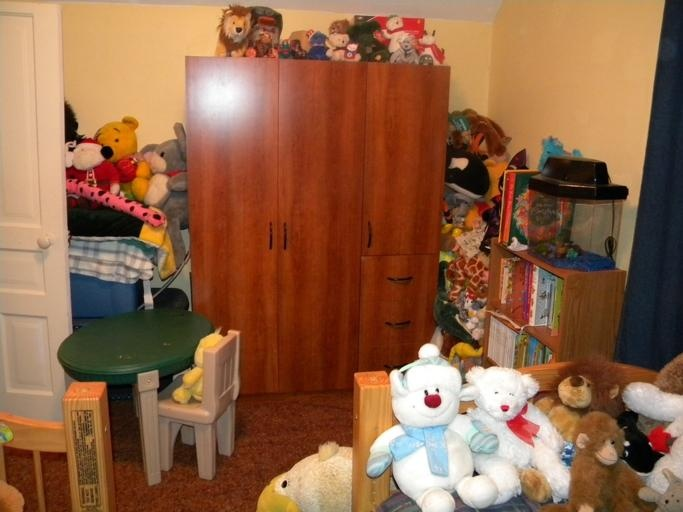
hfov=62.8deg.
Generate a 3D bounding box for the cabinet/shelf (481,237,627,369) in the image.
[{"bbox_3d":[1.045,0.336,2.941,0.286,0.692,0.717,2,10,-15],"label":"cabinet/shelf"}]

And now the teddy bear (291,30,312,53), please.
[{"bbox_3d":[-0.246,-1.342,3.480,0.148,0.156,0.255,-1,16,-4],"label":"teddy bear"}]

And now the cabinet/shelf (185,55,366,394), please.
[{"bbox_3d":[-0.423,-0.189,3.558,1.065,2.002,0.567,-3,11,-14],"label":"cabinet/shelf"}]

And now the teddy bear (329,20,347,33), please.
[{"bbox_3d":[-0.011,-1.446,3.509,0.123,0.103,0.178,0,16,0],"label":"teddy bear"}]

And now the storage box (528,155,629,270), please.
[{"bbox_3d":[1.106,-0.220,2.671,0.459,0.500,0.364,8,18,26],"label":"storage box"}]

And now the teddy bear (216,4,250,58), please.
[{"bbox_3d":[-0.628,-1.305,3.237,0.225,0.296,0.235,-2,16,-7],"label":"teddy bear"}]

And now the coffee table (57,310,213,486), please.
[{"bbox_3d":[-1.022,0.571,2.930,0.828,0.627,0.747,3,10,17],"label":"coffee table"}]

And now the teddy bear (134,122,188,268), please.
[{"bbox_3d":[-1.099,-0.380,3.507,0.295,0.882,0.228,-3,16,-8],"label":"teddy bear"}]

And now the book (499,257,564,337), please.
[{"bbox_3d":[0.985,0.213,2.867,0.193,0.334,0.338,-6,17,-24],"label":"book"}]

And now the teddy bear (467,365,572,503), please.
[{"bbox_3d":[0.624,0.614,2.126,0.397,0.492,0.433,-8,9,-6],"label":"teddy bear"}]
